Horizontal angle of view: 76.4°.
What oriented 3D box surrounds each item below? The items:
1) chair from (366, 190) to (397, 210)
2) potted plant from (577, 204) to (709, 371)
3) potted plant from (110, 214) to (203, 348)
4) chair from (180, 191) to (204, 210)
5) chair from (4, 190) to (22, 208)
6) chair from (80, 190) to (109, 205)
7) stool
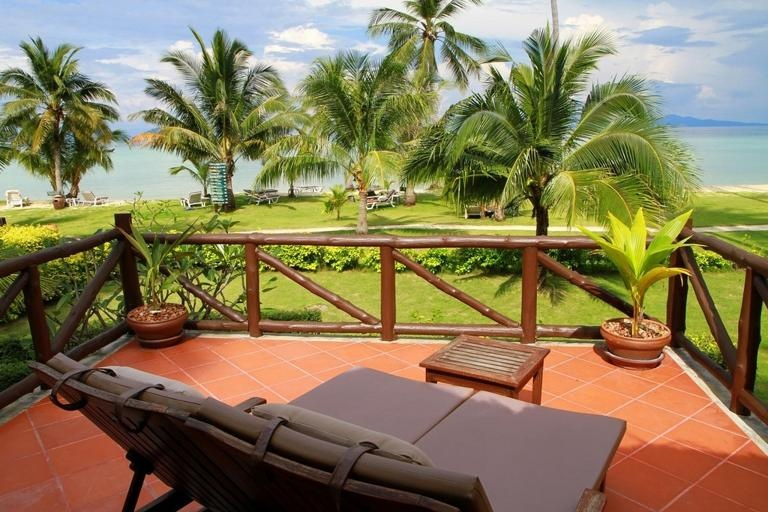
[{"bbox_3d":[-0.093,-2.920,25.075,1.688,0.657,0.927,-4,12,-20],"label":"chair"},{"bbox_3d":[2.269,0.272,4.494,0.737,1.401,0.562,4,17,24],"label":"potted plant"},{"bbox_3d":[-2.384,0.254,5.166,0.719,1.224,0.869,-11,18,-28],"label":"potted plant"},{"bbox_3d":[-10.383,-3.068,26.740,0.994,0.793,1.304,-11,31,-31],"label":"chair"},{"bbox_3d":[-22.015,-3.496,29.240,0.746,0.827,1.388,-3,2,-34],"label":"chair"},{"bbox_3d":[-17.740,-3.618,29.925,1.151,0.838,1.547,-1,15,8],"label":"chair"},{"bbox_3d":[0.722,0.748,3.548,0.631,0.585,0.636,7,14,33],"label":"stool"}]
